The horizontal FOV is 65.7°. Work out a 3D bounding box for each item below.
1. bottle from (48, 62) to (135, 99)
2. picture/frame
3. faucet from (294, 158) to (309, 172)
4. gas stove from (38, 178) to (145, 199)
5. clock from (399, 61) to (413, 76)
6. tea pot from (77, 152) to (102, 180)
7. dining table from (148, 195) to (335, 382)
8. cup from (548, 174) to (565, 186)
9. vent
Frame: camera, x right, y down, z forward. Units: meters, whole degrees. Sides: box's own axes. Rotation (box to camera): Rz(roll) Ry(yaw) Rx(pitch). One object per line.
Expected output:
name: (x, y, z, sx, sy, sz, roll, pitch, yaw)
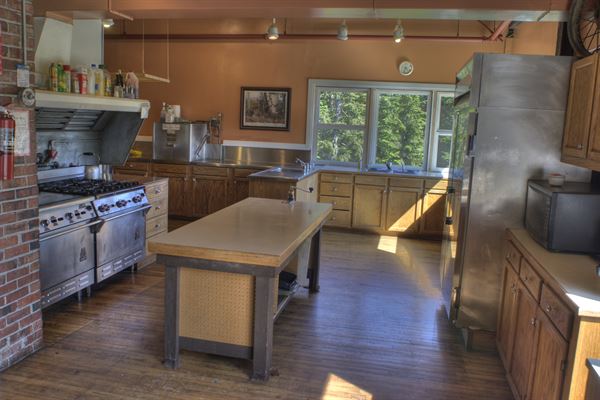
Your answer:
bottle: (-2.391, -1.326, 5.236, 0.272, 0.369, 1.039, 1, 2, 24)
picture/frame: (-0.595, -1.669, 8.382, 0.858, 0.688, 0.062, 1, 4, 6)
faucet: (0.072, -0.568, 7.800, 0.125, 0.186, 0.477, 1, -4, 21)
gas stove: (-2.341, -0.134, 5.247, 1.066, 0.087, 0.752, -4, 12, -29)
clock: (1.797, -2.239, 7.888, 0.233, 0.226, 0.139, 0, -4, 2)
tea pot: (-2.586, -0.424, 5.731, 0.227, 0.371, 0.376, -2, 3, -44)
dining table: (-0.475, 0.195, 4.330, 1.270, 1.187, 2.504, 1, 10, 12)
cup: (2.228, -0.174, 4.041, 0.116, 0.080, 0.114, -4, 7, 0)
vent: (-2.451, -0.781, 5.417, 0.696, 0.874, 1.315, 6, 12, 23)
